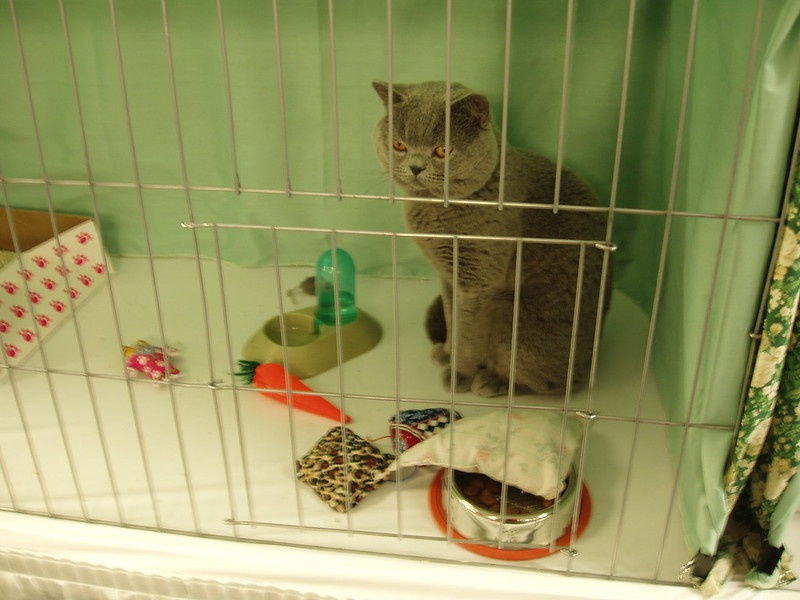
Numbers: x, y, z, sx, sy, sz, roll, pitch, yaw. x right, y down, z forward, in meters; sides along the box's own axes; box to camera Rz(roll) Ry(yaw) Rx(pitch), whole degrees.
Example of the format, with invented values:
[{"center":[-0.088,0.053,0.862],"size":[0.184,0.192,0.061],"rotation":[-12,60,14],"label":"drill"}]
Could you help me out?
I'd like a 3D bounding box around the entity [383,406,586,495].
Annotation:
[{"center":[0.198,0.344,1.432],"size":[0.374,0.105,0.308],"rotation":[9,25,20],"label":"entity"}]
